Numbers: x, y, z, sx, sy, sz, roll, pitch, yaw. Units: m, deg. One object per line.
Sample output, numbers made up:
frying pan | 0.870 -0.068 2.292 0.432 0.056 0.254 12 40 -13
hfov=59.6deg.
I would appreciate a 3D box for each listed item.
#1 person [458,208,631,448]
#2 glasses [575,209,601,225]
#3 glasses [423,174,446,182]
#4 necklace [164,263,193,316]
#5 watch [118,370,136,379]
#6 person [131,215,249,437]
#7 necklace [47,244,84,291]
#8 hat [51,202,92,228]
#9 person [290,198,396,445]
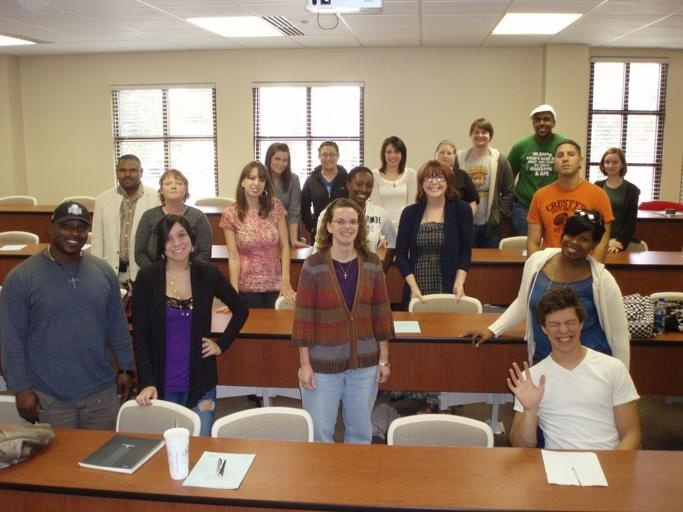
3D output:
person | 1.307 0.552 3.627 0.960 1.639 0.395 0 12 17
glasses | 1.415 -0.223 3.389 0.143 0.075 0.117 3 14 19
glasses | 0.717 -0.589 4.535 0.152 0.043 0.058 0 13 8
necklace | -0.970 0.206 3.518 0.199 0.279 0.099 -1 -9 -14
watch | -1.309 0.720 3.630 0.062 0.024 0.055 1 4 -30
person | -0.924 0.670 3.673 0.733 1.758 0.534 -4 18 -23
necklace | -1.560 0.060 3.341 0.173 0.237 0.057 -9 9 -12
hat | -1.544 -0.233 3.391 0.133 0.105 0.178 0 -4 -28
person | 0.017 0.409 3.565 0.583 1.471 0.387 -1 13 5
